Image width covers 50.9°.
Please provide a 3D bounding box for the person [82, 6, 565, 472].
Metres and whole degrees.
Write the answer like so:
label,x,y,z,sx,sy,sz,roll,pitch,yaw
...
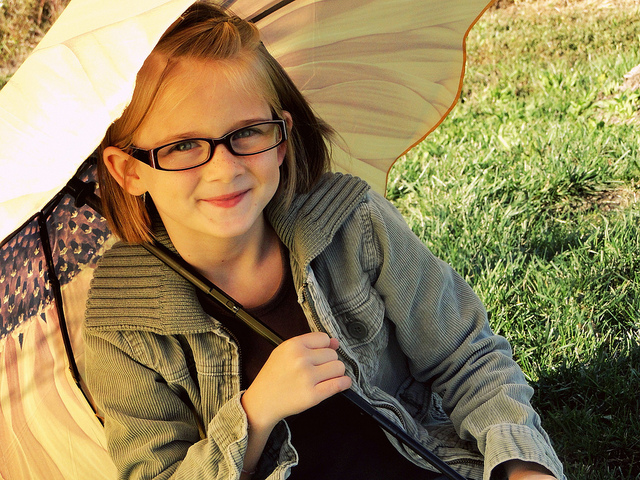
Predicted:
label,x,y,z,sx,sy,sz,roll,pitch,yaw
person,-0.006,0.047,2.123,0.981,1.598,0.905,-40,30,-24
